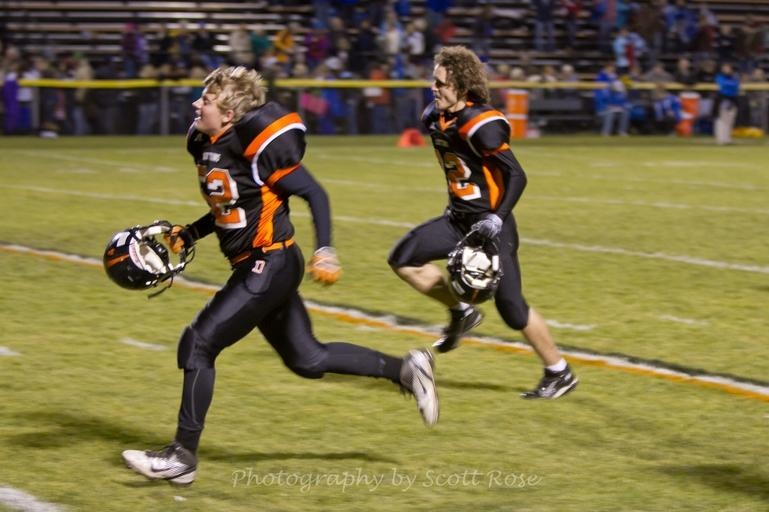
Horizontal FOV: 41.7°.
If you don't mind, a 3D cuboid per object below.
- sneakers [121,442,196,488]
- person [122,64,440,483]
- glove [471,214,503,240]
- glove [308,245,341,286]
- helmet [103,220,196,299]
[{"bbox_3d":[-1.171,1.102,5.407,0.532,0.184,0.172,3,4,28],"label":"sneakers"},{"bbox_3d":[-0.591,0.091,5.485,1.474,2.232,0.679,3,9,1],"label":"person"},{"bbox_3d":[0.599,-0.182,6.158,0.214,0.104,0.160,-8,-9,37],"label":"glove"},{"bbox_3d":[-0.325,0.052,5.361,0.148,0.204,0.163,2,8,-4],"label":"glove"},{"bbox_3d":[-1.451,0.022,5.768,0.506,0.316,0.360,-9,-19,-46],"label":"helmet"}]
